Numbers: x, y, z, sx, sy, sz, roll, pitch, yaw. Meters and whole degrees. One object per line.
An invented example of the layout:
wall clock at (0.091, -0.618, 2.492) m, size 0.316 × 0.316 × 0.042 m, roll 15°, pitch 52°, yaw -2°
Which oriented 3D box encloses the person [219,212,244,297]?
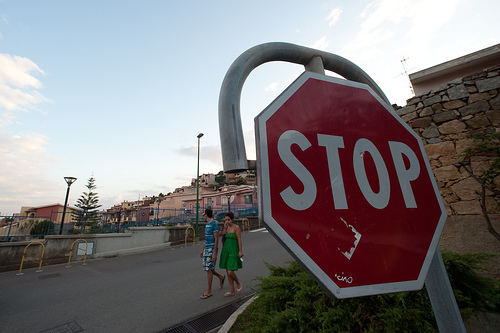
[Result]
person at (-0.482, 2.147, 6.636) m, size 0.688 × 1.898 × 0.609 m, roll -7°, pitch -13°, yaw 26°

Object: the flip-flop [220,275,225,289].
flip-flop at (-0.755, 3.059, 7.119) m, size 0.096 × 0.356 × 0.130 m, roll 12°, pitch 9°, yaw 7°

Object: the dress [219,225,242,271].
dress at (-0.477, 1.941, 6.506) m, size 0.432 × 1.170 × 0.340 m, roll -8°, pitch -13°, yaw 37°

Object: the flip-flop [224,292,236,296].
flip-flop at (-0.499, 3.099, 6.515) m, size 0.279 × 0.097 × 0.098 m, roll 3°, pitch -12°, yaw -26°

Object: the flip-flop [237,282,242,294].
flip-flop at (-0.275, 3.007, 6.630) m, size 0.074 × 0.269 × 0.097 m, roll 15°, pitch -9°, yaw -8°
